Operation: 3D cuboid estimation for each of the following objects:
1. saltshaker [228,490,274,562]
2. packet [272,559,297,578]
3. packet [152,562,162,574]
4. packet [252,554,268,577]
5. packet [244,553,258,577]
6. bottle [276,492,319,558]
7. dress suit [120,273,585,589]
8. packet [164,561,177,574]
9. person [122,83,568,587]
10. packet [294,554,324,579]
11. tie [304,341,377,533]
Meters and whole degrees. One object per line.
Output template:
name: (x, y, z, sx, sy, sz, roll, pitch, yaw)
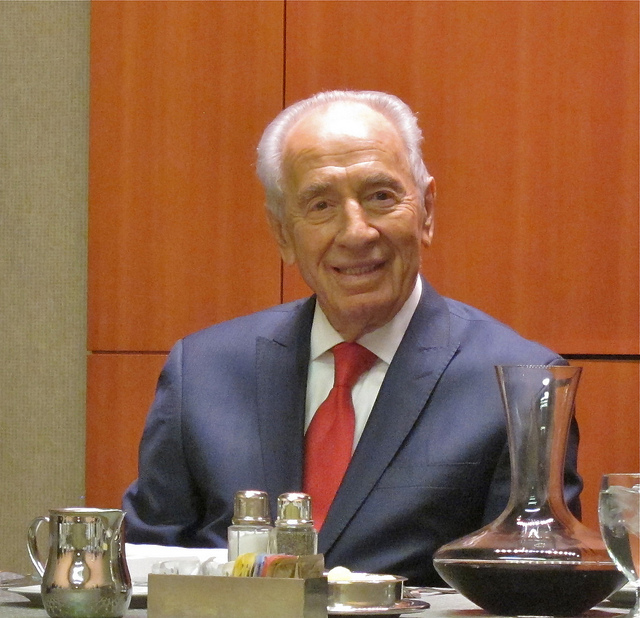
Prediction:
saltshaker: (-0.105, 0.348, 2.462, 0.069, 0.136, 0.075, 2, 0, -22)
packet: (-0.047, 0.369, 2.264, 0.024, 0.032, 0.010, 11, -5, -42)
packet: (-0.240, 0.385, 2.376, 0.006, 0.016, 0.015, 15, -14, -27)
packet: (-0.085, 0.365, 2.273, 0.008, 0.035, 0.010, 18, -18, -6)
packet: (-0.096, 0.366, 2.277, 0.009, 0.046, 0.013, 14, -34, 5)
bottle: (-0.040, 0.346, 2.405, 0.074, 0.135, 0.069, 0, -3, 0)
dress suit: (0.054, 0.367, 3.211, 0.928, 0.878, 0.458, 4, 1, 7)
packet: (-0.220, 0.383, 2.366, 0.010, 0.015, 0.015, 0, -18, 0)
person: (0.097, 0.035, 3.275, 0.824, 1.652, 0.523, -1, -21, 9)
packet: (-0.019, 0.365, 2.274, 0.026, 0.014, 0.036, 0, 28, 1)
tie: (0.034, 0.228, 3.121, 0.095, 0.075, 0.589, 20, 33, -2)
